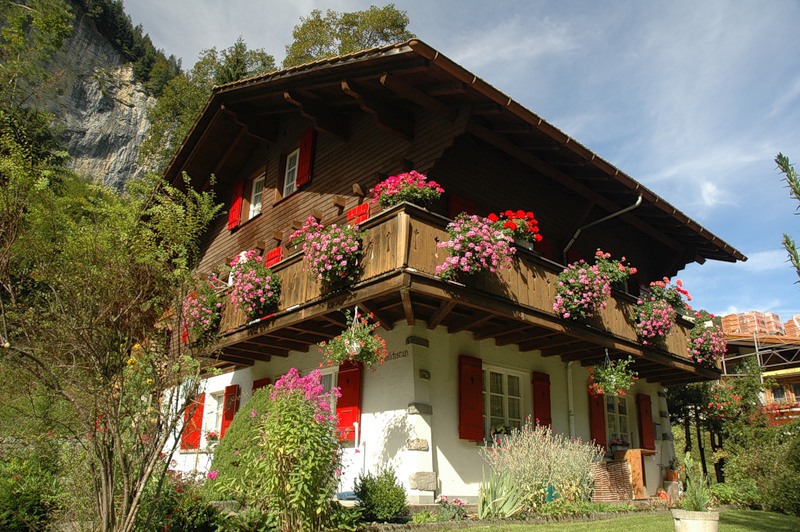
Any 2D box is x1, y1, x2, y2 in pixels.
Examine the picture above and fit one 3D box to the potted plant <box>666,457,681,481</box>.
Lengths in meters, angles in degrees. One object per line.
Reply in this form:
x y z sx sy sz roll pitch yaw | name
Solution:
8.943 6.722 18.046 0.555 0.670 0.536 17 -21 -24 | potted plant
